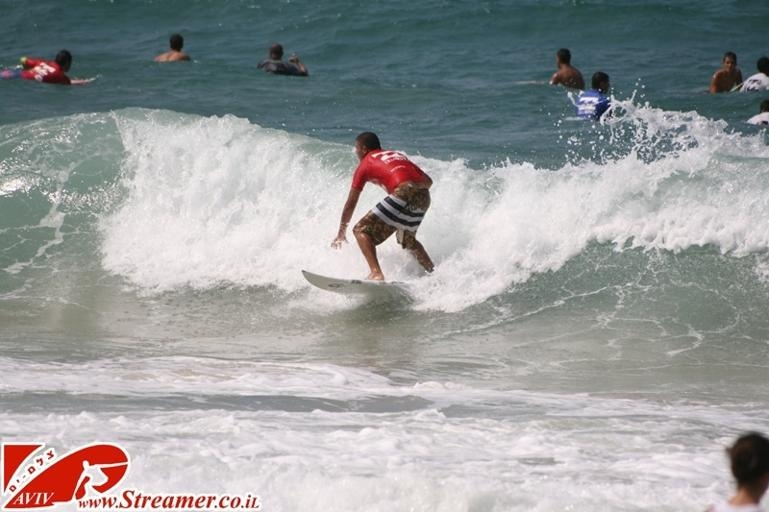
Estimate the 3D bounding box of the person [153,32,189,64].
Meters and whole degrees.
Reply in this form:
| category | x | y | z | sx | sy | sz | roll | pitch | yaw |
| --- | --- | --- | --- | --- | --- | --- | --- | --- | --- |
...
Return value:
| category | x | y | z | sx | sy | sz | roll | pitch | yaw |
| --- | --- | --- | --- | --- | --- | --- | --- | --- | --- |
| person | -3.862 | -3.804 | 19.124 | 0.639 | 0.451 | 0.753 | -3 | 21 | -8 |

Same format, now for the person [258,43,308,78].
| category | x | y | z | sx | sy | sz | roll | pitch | yaw |
| --- | --- | --- | --- | --- | --- | --- | --- | --- | --- |
| person | -1.797 | -3.499 | 18.837 | 1.001 | 0.560 | 0.487 | 8 | 41 | 22 |

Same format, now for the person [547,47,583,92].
| category | x | y | z | sx | sy | sz | roll | pitch | yaw |
| --- | --- | --- | --- | --- | --- | --- | --- | --- | --- |
| person | 3.079 | -3.112 | 17.478 | 0.576 | 0.574 | 0.827 | 4 | 22 | 8 |

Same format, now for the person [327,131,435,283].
| category | x | y | z | sx | sy | sz | roll | pitch | yaw |
| --- | --- | --- | --- | --- | --- | --- | --- | --- | --- |
| person | 0.043 | -0.489 | 12.704 | 0.847 | 1.492 | 0.753 | 17 | 29 | 33 |
